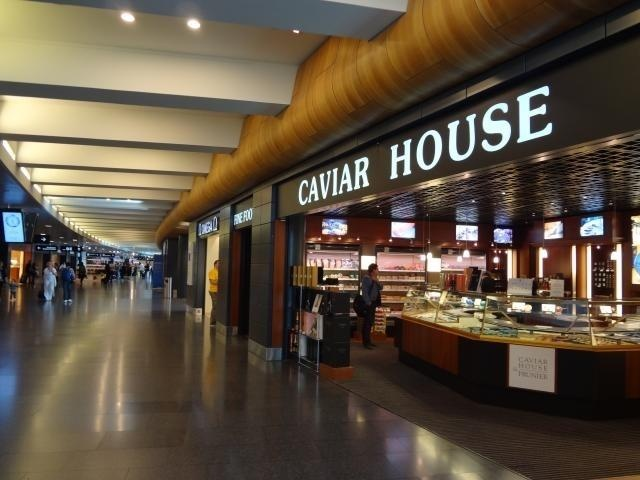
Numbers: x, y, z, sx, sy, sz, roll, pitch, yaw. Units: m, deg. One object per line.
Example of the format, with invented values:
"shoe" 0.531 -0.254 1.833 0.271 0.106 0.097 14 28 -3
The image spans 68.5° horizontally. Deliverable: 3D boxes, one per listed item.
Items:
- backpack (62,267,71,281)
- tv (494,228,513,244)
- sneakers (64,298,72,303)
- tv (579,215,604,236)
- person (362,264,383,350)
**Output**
"backpack" -9.685 1.296 18.046 0.342 0.647 0.689 3 -3 -32
"tv" 5.314 -0.128 13.611 0.748 0.473 0.056 2 -3 -26
"sneakers" -9.583 2.296 17.900 0.476 0.194 0.146 -11 -8 40
"tv" 6.544 -0.364 11.265 0.047 0.448 0.458 10 -8 -13
"person" 1.075 1.404 10.053 0.388 1.790 0.509 0 -3 17
